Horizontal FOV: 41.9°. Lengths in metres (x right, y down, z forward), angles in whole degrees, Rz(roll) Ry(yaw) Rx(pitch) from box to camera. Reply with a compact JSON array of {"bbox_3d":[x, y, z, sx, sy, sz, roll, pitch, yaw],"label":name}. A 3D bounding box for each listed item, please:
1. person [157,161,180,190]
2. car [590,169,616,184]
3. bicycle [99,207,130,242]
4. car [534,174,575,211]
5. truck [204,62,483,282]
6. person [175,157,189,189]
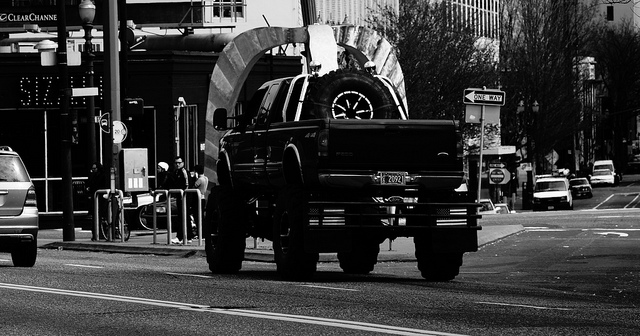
[{"bbox_3d":[-5.851,0.285,32.504,0.939,0.791,2.459,9,-11,-13],"label":"person"},{"bbox_3d":[31.118,0.877,92.043,2.325,1.718,3.306,10,2,17],"label":"car"},{"bbox_3d":[-7.374,2.026,30.644,0.945,1.216,2.023,10,1,-21],"label":"bicycle"},{"bbox_3d":[16.336,1.808,58.933,2.432,2.592,2.615,11,2,12],"label":"car"},{"bbox_3d":[0.408,0.200,20.533,6.518,5.425,3.165,11,1,37],"label":"truck"},{"bbox_3d":[-5.013,0.164,30.793,0.667,1.066,1.598,11,1,-9],"label":"person"}]
